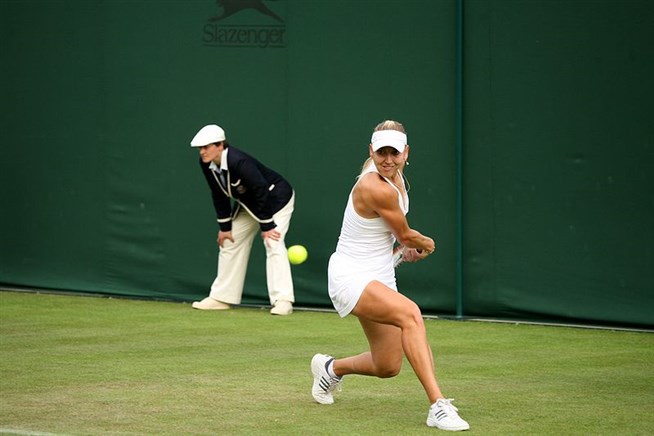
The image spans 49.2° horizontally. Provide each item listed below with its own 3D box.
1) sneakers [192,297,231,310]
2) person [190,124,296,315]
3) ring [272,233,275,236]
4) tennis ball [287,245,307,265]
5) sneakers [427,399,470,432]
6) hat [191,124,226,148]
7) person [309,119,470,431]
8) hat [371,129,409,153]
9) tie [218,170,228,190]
[{"bbox_3d":[-1.303,0.980,7.978,0.386,0.161,0.151,4,-4,-1],"label":"sneakers"},{"bbox_3d":[-0.906,0.037,7.785,1.069,2.037,0.521,0,8,-5],"label":"person"},{"bbox_3d":[-0.589,0.182,7.687,0.026,0.025,0.009,-3,-4,-5],"label":"ring"},{"bbox_3d":[-0.335,0.402,7.869,0.212,0.201,0.193,3,4,0],"label":"tennis ball"},{"bbox_3d":[0.771,1.315,4.769,0.137,0.164,0.339,2,-4,-44],"label":"sneakers"},{"bbox_3d":[-1.239,-0.837,7.476,0.324,0.166,0.239,0,-4,-44],"label":"hat"},{"bbox_3d":[0.413,0.371,4.969,1.110,2.061,0.464,6,9,35],"label":"person"},{"bbox_3d":[0.415,-0.514,4.847,0.204,0.107,0.252,0,-2,7],"label":"hat"},{"bbox_3d":[-1.101,-0.411,7.535,0.033,0.131,0.136,-16,-27,-18],"label":"tie"}]
